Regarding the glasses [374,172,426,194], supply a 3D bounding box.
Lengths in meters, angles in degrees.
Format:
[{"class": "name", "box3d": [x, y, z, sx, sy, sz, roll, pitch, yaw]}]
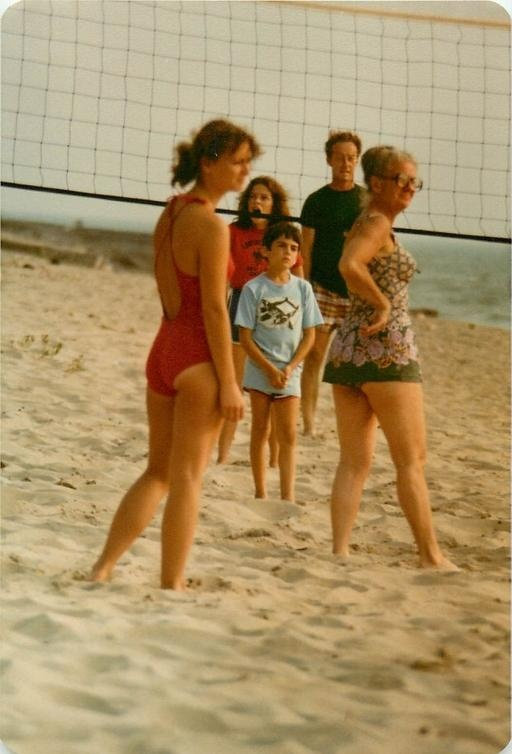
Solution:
[{"class": "glasses", "box3d": [0.511, -0.675, 2.872, 0.169, 0.053, 0.075, 3, 5, -18]}]

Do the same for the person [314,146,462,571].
[{"class": "person", "box3d": [0.504, -0.050, 2.956, 0.506, 1.515, 0.358, 5, 5, 3]}]

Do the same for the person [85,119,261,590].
[{"class": "person", "box3d": [-0.206, -0.047, 2.566, 0.447, 1.480, 0.251, 9, 7, 40]}]
